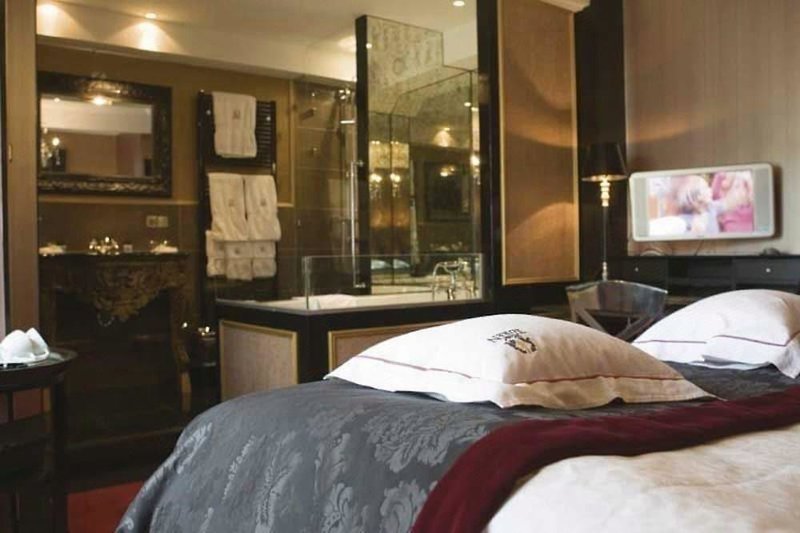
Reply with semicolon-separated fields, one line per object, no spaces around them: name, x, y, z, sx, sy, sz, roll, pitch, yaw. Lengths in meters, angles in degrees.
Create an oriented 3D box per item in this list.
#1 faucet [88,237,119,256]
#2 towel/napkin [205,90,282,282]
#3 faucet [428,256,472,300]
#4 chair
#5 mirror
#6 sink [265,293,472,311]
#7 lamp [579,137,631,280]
faucet;-1.790;-0.126;3.923;0.113;0.068;0.115;5;7;35
towel/napkin;-1.032;-0.535;4.241;0.525;1.159;0.248;-3;1;-18
faucet;0.351;0.080;4.529;0.357;0.342;0.210;-2;9;-8
chair;1.316;0.299;3.804;0.408;0.464;0.399;2;-3;-10
mirror;-1.814;-0.800;3.913;0.830;0.736;0.070;-1;4;-36
sink;-0.222;0.215;4.051;1.146;0.102;0.295;-3;1;-30
lamp;1.679;-0.462;5.344;0.331;1.161;0.716;-3;1;16
